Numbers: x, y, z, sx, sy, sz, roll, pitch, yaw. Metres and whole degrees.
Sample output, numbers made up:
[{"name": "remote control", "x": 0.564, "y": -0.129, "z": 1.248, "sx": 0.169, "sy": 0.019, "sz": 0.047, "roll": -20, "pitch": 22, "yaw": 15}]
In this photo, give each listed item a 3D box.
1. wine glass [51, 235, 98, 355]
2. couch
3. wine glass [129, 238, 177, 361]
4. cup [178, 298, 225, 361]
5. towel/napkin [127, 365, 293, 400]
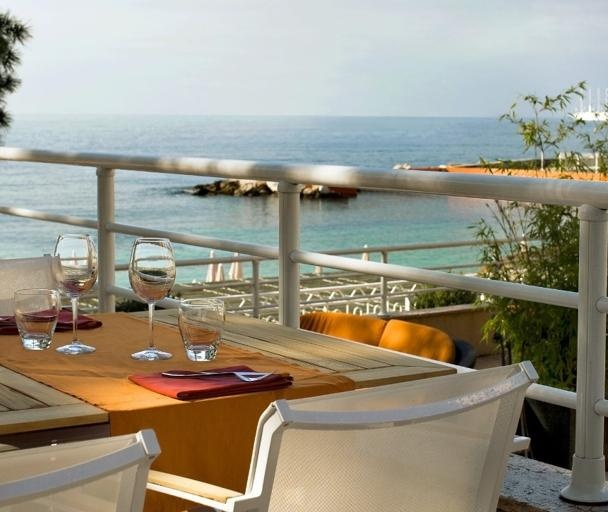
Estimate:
[{"name": "wine glass", "x": -0.471, "y": 0.083, "z": 1.189, "sx": 0.121, "sy": 0.232, "sz": 0.120, "roll": 2, "pitch": 15, "yaw": -34}, {"name": "couch", "x": 0.336, "y": 0.317, "z": 2.334, "sx": 0.289, "sy": 0.228, "sz": 0.838, "roll": 12, "pitch": -4, "yaw": -37}, {"name": "wine glass", "x": -0.279, "y": 0.084, "z": 1.131, "sx": 0.111, "sy": 0.209, "sz": 0.094, "roll": -1, "pitch": 2, "yaw": -39}, {"name": "cup", "x": -0.179, "y": 0.130, "z": 1.064, "sx": 0.119, "sy": 0.116, "sz": 0.110, "roll": 0, "pitch": 0, "yaw": 0}, {"name": "towel/napkin", "x": -0.144, "y": 0.166, "z": 0.925, "sx": 0.215, "sy": 0.032, "sz": 0.155, "roll": -5, "pitch": 8, "yaw": -40}]
